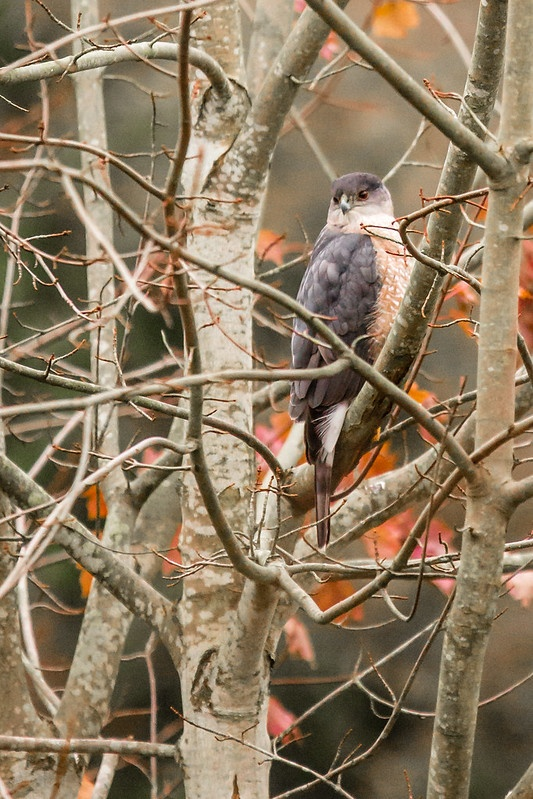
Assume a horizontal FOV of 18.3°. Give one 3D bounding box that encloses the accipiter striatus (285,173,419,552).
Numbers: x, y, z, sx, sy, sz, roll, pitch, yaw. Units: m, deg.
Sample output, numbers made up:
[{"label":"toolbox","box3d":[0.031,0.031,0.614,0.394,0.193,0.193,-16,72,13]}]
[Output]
[{"label":"accipiter striatus","box3d":[0.317,-0.286,5.996,0.488,2.004,0.722,-2,-56,1]}]
